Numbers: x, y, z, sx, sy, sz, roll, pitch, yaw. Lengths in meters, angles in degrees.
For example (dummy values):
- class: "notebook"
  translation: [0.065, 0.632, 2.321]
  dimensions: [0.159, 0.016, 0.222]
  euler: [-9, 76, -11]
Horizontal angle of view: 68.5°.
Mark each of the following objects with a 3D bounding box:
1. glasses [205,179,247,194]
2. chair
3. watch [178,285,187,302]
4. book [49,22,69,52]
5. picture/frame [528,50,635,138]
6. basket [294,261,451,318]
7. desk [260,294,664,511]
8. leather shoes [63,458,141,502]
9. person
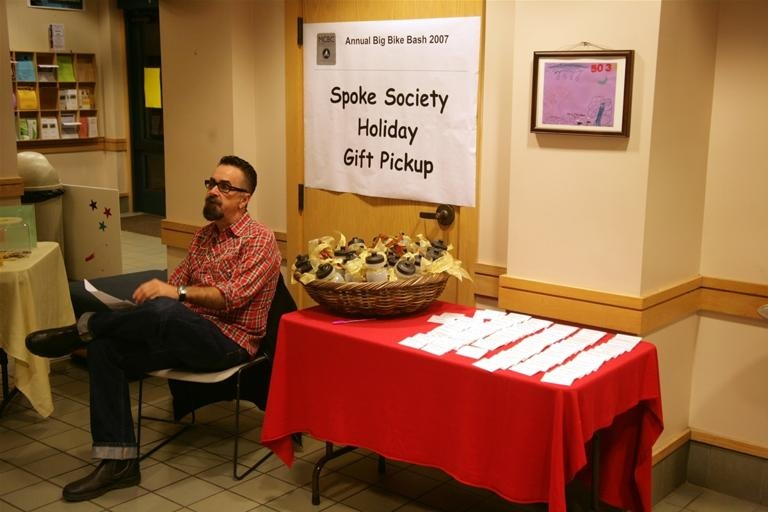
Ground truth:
- class: "glasses"
  translation: [-0.945, -0.405, 3.365]
  dimensions: [0.127, 0.039, 0.132]
  euler: [13, -2, 28]
- class: "chair"
  translation: [-0.973, 0.617, 3.324]
  dimensions: [0.779, 1.112, 0.713]
  euler: [2, 4, 5]
- class: "watch"
  translation: [-1.125, 0.206, 3.119]
  dimensions: [0.050, 0.071, 0.076]
  euler: [5, -28, -1]
- class: "book"
  translation: [-5.439, -3.603, 9.323]
  dimensions: [0.238, 0.428, 0.139]
  euler: [-12, 20, -39]
- class: "picture/frame"
  translation: [1.006, -0.813, 2.817]
  dimensions: [0.449, 0.376, 0.037]
  euler: [9, 17, 34]
- class: "basket"
  translation: [-0.025, 0.190, 3.173]
  dimensions: [0.858, 0.221, 0.791]
  euler: [-8, 5, -40]
- class: "desk"
  translation: [0.196, 0.787, 2.746]
  dimensions: [1.646, 0.814, 0.535]
  euler: [10, 18, 30]
- class: "leather shoes"
  translation: [-1.580, 1.191, 3.193]
  dimensions: [0.407, 0.257, 0.163]
  euler: [-3, 7, -35]
- class: "person"
  translation: [-1.242, 0.355, 3.229]
  dimensions: [1.266, 1.738, 0.562]
  euler: [-9, 18, -32]
